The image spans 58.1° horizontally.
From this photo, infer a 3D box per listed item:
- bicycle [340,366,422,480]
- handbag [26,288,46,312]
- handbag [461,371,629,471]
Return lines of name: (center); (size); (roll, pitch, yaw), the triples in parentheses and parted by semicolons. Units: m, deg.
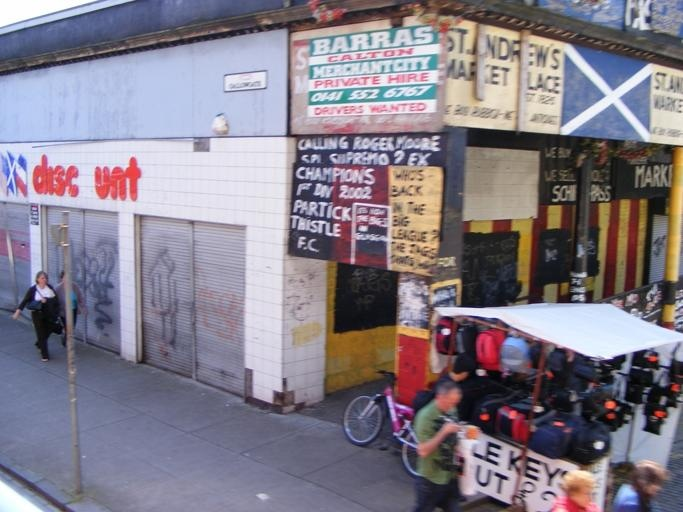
bicycle: (0.661, 2.338, 9.149); (0.480, 1.316, 1.511); (-14, 19, -38)
handbag: (-6.463, 1.013, 12.914); (0.325, 0.246, 0.150); (3, 16, 13)
handbag: (2.547, 2.074, 7.787); (1.247, 0.345, 1.210); (-5, 8, -42)
